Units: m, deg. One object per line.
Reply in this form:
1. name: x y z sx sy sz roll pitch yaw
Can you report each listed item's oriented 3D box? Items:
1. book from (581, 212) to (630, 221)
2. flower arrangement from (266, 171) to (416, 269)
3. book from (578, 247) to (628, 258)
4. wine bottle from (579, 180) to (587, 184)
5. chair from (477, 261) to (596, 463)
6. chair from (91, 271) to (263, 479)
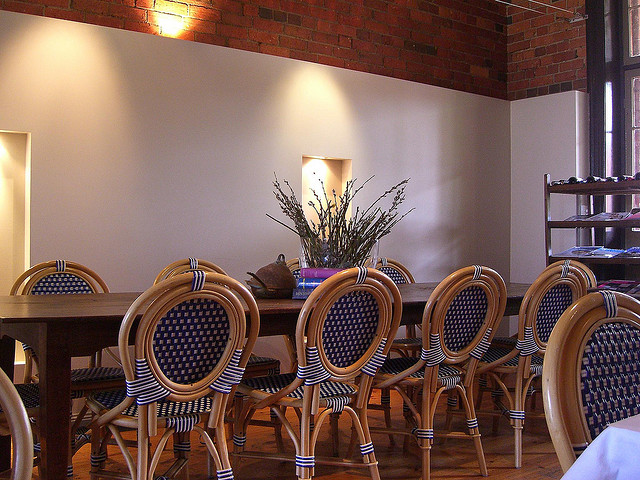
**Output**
1. book: 2.602 -0.209 4.711 0.377 0.067 0.220 -3 -1 37
2. flower arrangement: 0.169 -0.016 3.238 0.694 0.509 0.630 6 -7 -32
3. book: 2.597 0.118 4.729 0.395 0.081 0.249 -3 -1 38
4. wine bottle: 2.439 -0.536 4.777 0.056 0.035 0.083 -2 0 20
5. chair: 1.204 0.752 3.256 0.620 1.106 0.660 6 -7 -29
6. chair: -0.577 0.582 2.148 0.645 0.749 0.348 -2 1 -26
